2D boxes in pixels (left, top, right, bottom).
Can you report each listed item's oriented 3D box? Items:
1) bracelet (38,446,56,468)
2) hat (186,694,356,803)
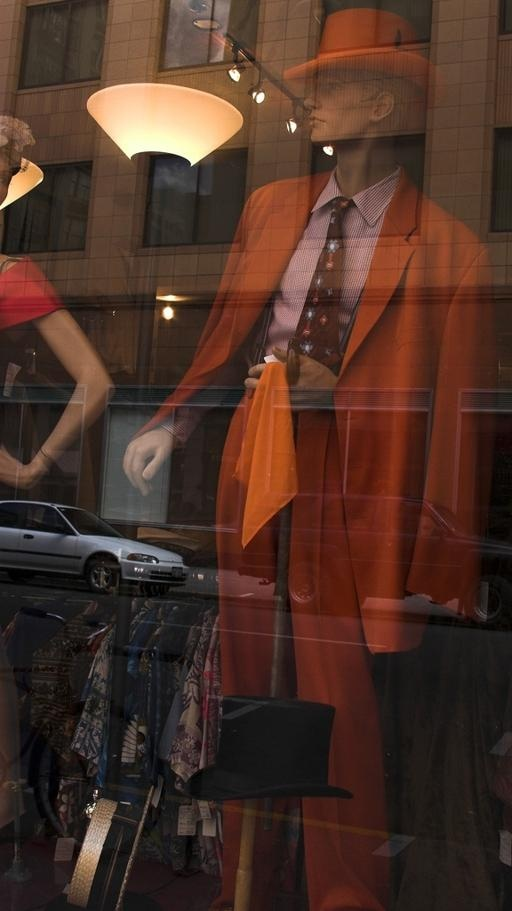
[{"bbox_3d":[-0.414,0.001,1.445,0.039,0.041,0.037,0,1,15],"label":"bracelet"},{"bbox_3d":[0.038,0.471,1.274,0.211,0.120,0.191,-7,-12,30],"label":"hat"}]
